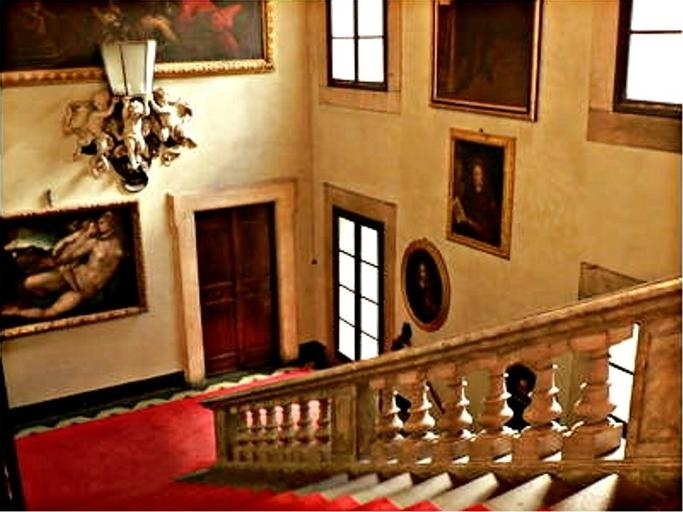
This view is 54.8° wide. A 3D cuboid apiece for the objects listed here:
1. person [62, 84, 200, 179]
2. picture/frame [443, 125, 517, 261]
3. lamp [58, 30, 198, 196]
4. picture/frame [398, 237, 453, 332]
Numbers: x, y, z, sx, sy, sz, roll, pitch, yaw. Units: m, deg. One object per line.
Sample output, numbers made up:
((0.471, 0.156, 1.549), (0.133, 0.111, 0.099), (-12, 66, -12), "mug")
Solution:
((-2.091, -1.233, 6.391), (0.882, 0.610, 0.288), (-16, 39, -37), "person")
((1.129, -0.532, 5.266), (0.072, 1.026, 0.921), (-11, 21, -29), "picture/frame")
((-2.048, -1.292, 6.332), (1.183, 1.484, 0.423), (-9, 31, -27), "lamp")
((0.740, 0.288, 6.060), (0.085, 0.846, 0.858), (-11, -7, 35), "picture/frame")
